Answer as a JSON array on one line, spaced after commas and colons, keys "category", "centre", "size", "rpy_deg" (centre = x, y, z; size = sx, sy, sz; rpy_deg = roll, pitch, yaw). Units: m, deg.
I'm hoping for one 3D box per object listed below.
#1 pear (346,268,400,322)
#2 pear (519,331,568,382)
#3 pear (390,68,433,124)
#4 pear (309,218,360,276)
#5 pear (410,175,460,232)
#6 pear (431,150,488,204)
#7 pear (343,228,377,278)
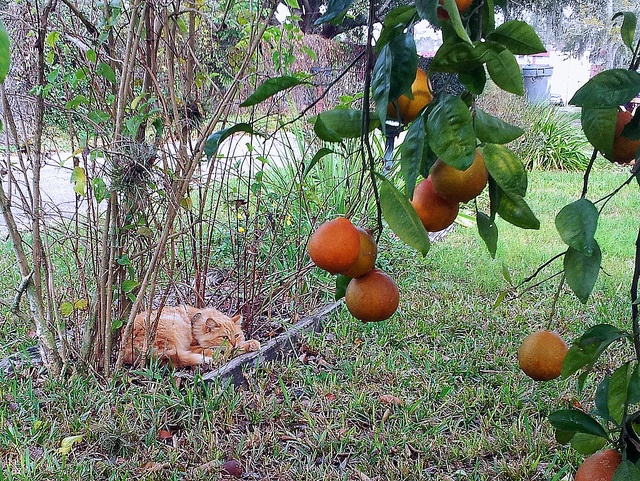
[{"category": "pear", "centre": [0.129, 0.150, 1.446], "size": [0.129, 0.143, 0.090], "rpy_deg": [7, 12, -8]}, {"category": "pear", "centre": [0.628, 0.319, 1.673], "size": [0.126, 0.170, 0.136], "rpy_deg": [2, 1, 4]}, {"category": "pear", "centre": [0.223, -0.353, 1.400], "size": [0.103, 0.138, 0.082], "rpy_deg": [10, 13, 10]}, {"category": "pear", "centre": [0.032, 0.019, 1.402], "size": [0.103, 0.139, 0.122], "rpy_deg": [1, 36, -3]}, {"category": "pear", "centre": [0.273, -0.080, 1.383], "size": [0.096, 0.143, 0.081], "rpy_deg": [10, 23, 16]}, {"category": "pear", "centre": [0.324, -0.134, 1.328], "size": [0.114, 0.152, 0.117], "rpy_deg": [4, 5, -5]}, {"category": "pear", "centre": [0.108, 0.037, 1.438], "size": [0.091, 0.123, 0.099], "rpy_deg": [11, -5, -3]}]
